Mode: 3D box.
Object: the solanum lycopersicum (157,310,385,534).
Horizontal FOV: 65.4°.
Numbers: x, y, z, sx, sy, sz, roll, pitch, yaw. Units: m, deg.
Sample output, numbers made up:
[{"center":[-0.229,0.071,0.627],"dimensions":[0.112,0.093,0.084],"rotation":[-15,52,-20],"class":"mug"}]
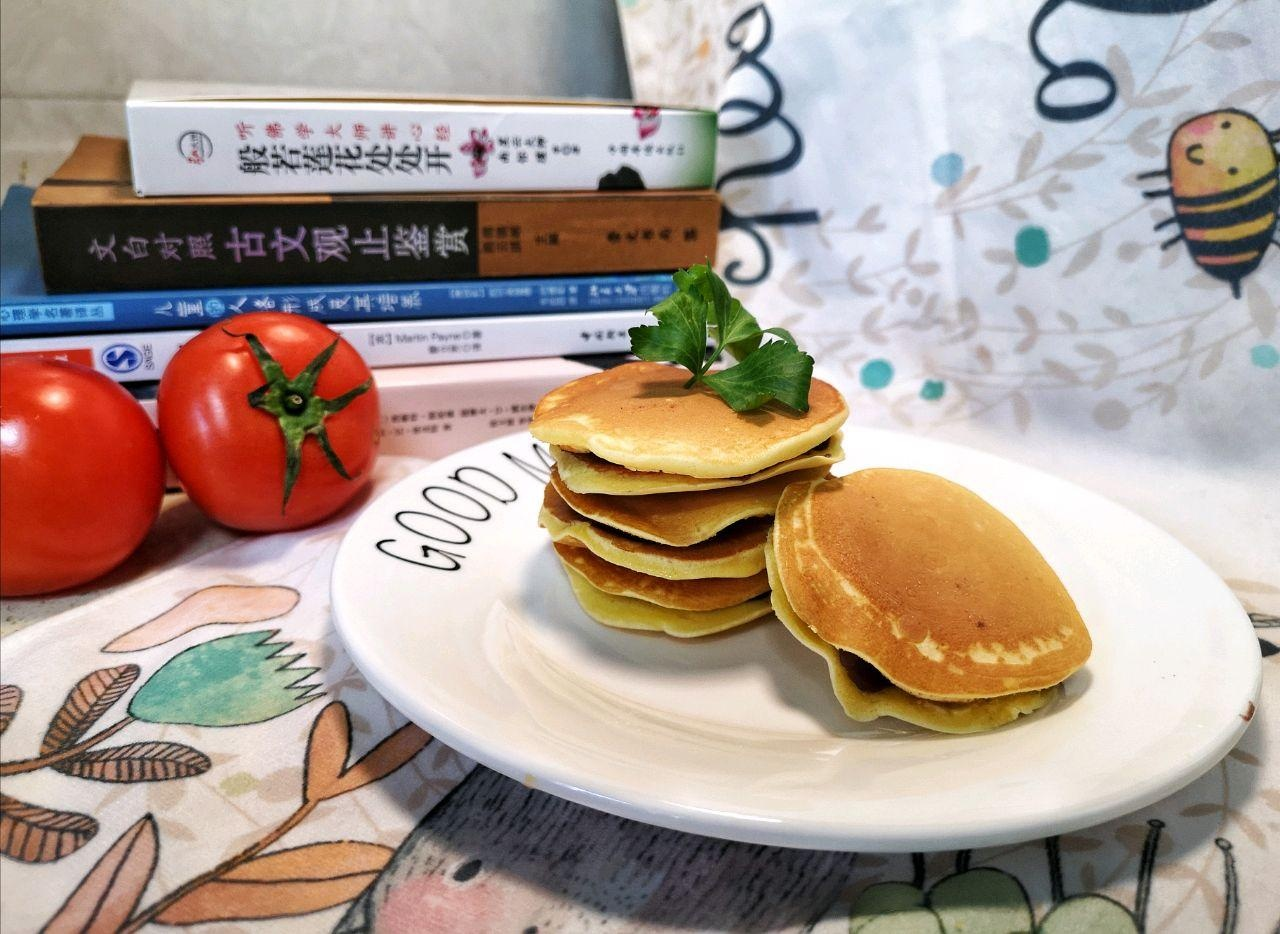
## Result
[{"center":[-0.498,-0.055,1.417],"dimensions":[0.347,0.308,0.363],"rotation":[6,-8,-42],"class":"solanum lycopersicum"}]
